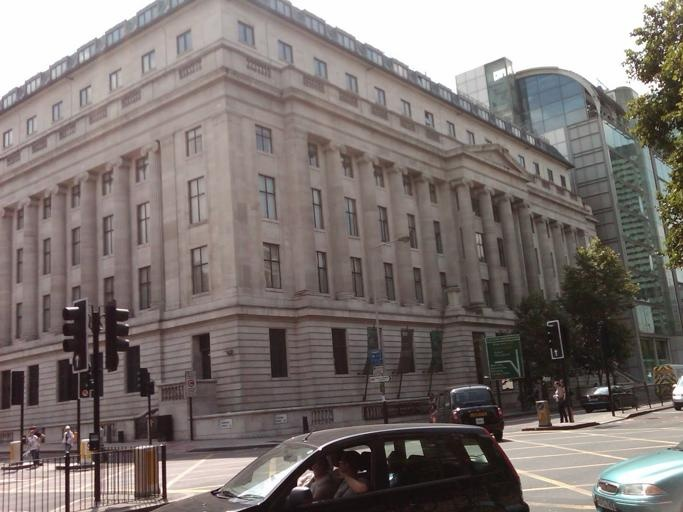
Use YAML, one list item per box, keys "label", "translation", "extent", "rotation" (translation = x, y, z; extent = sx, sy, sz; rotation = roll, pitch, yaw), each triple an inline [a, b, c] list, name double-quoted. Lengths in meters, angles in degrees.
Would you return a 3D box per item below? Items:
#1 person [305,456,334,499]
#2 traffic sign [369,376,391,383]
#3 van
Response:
- label: "person"
  translation: [-0.412, 4.076, 13.077]
  extent: [0.482, 0.774, 0.301]
  rotation: [-11, -17, 10]
- label: "traffic sign"
  translation: [2.047, 6.753, 39.283]
  extent: [0.904, 0.223, 0.658]
  rotation: [0, -7, 4]
- label: "van"
  translation: [5.094, 6.121, 29.000]
  extent: [2.015, 1.493, 3.348]
  rotation: [1, -8, -5]
